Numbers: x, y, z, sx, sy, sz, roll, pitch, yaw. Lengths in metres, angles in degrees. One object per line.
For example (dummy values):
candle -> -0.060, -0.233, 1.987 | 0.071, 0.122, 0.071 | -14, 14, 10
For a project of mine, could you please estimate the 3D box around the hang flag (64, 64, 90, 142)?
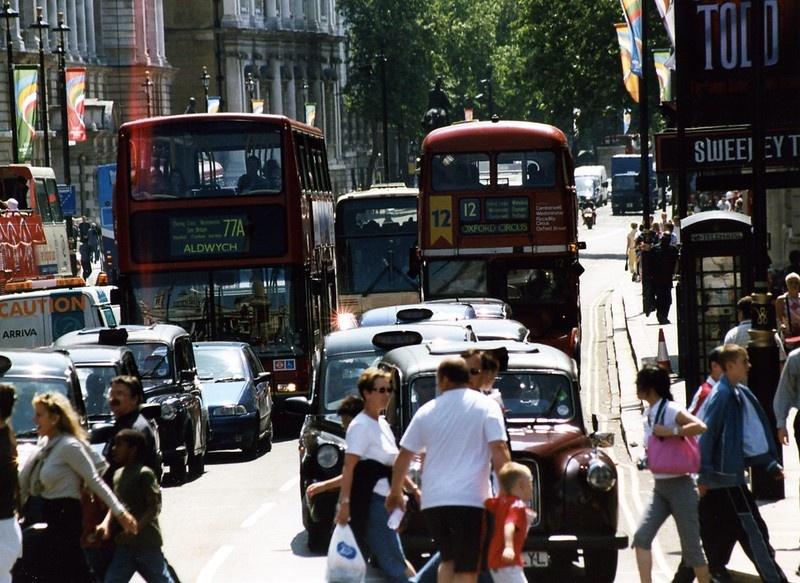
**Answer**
hang flag -> -13.201, -7.724, 51.498 | 0.775, 2.893, 2.888 | -4, 5, -14

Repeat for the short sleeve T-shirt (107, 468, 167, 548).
short sleeve T-shirt -> -2.260, 1.853, 10.760 | 0.378, 0.707, 0.347 | -4, 5, -3

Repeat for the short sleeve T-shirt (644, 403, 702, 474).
short sleeve T-shirt -> 2.481, 1.346, 11.450 | 0.515, 0.912, 0.249 | -1, -10, 1

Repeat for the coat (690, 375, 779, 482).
coat -> 3.173, 1.325, 12.163 | 1.036, 1.013, 0.549 | 2, -4, -44

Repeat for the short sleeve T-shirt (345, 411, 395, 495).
short sleeve T-shirt -> -0.212, 1.388, 11.132 | 0.333, 0.727, 0.669 | -1, 5, 20

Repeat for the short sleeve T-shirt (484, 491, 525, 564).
short sleeve T-shirt -> 0.840, 1.894, 10.030 | 0.358, 0.586, 0.314 | -2, 5, 19

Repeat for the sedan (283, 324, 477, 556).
sedan -> -0.401, 1.441, 15.091 | 1.496, 1.753, 2.759 | -1, -3, -1

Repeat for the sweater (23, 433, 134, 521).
sweater -> -2.799, 1.551, 10.770 | 1.023, 0.668, 0.246 | -1, 5, 29

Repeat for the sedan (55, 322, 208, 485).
sedan -> -4.165, 1.732, 19.837 | 1.951, 2.506, 4.088 | -4, -1, -2

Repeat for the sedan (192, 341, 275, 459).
sedan -> -2.744, 1.814, 21.172 | 1.062, 1.048, 1.978 | -1, -4, 2

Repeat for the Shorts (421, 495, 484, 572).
Shorts -> 0.517, 2.040, 10.294 | 0.505, 0.664, 0.404 | -4, -24, -6

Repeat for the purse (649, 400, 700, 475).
purse -> 2.506, 1.365, 11.557 | 0.437, 0.774, 0.236 | -6, -25, 21
